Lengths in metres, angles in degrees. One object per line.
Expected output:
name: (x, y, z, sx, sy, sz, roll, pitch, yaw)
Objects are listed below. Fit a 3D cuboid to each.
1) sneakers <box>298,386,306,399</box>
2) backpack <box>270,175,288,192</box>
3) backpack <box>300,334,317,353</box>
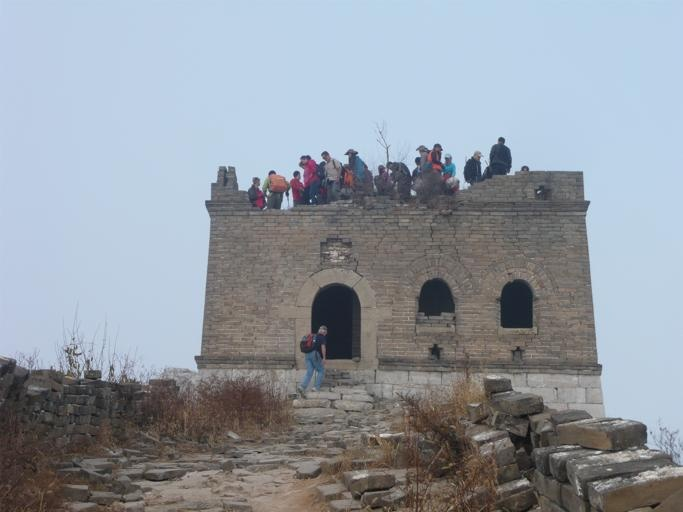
sneakers: (-0.961, 3.325, 20.441, 0.106, 0.372, 0.148, -9, 4, 9)
backpack: (-1.824, -2.131, 24.441, 0.570, 0.513, 0.377, 8, 0, -7)
backpack: (-0.861, 2.161, 20.780, 0.433, 0.481, 0.318, -1, -2, -41)
